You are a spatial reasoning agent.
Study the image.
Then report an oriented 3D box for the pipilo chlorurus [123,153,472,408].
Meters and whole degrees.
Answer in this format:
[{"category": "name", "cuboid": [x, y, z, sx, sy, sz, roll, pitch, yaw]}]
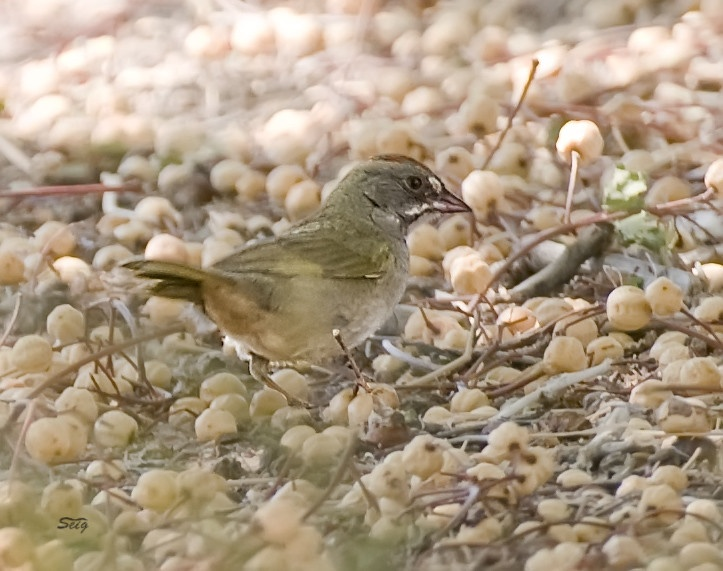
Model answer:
[{"category": "pipilo chlorurus", "cuboid": [-0.225, -0.029, 2.313, 1.006, 0.523, 0.364, -5, 4, -25]}]
